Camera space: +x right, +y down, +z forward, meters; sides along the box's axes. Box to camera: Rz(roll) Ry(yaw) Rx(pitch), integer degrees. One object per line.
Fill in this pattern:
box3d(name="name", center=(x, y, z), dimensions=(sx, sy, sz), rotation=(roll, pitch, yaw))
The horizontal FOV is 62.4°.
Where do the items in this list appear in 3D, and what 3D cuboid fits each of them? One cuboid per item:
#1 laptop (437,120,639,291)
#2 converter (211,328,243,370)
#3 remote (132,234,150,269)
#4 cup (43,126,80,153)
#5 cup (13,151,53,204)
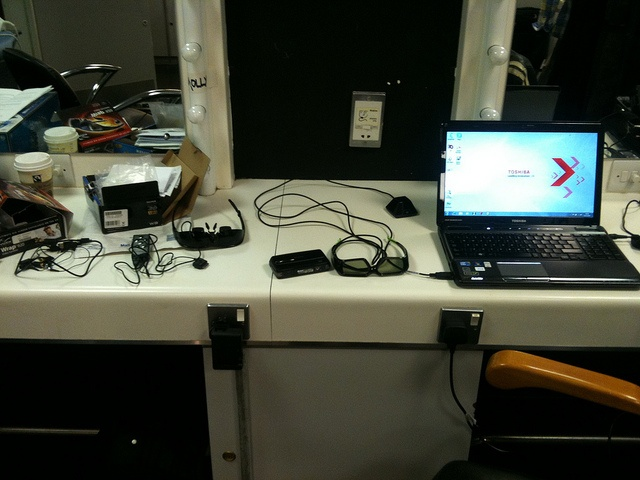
box3d(name="laptop", center=(0.575, -0.029, 1.561), dimensions=(0.524, 0.373, 0.449), rotation=(1, 46, 4))
box3d(name="converter", center=(-0.242, 0.273, 1.351), dimensions=(0.088, 0.123, 0.066), rotation=(0, 31, -3))
box3d(name="remote", center=(-0.495, 0.032, 1.431), dimensions=(0.048, 0.022, 0.161), rotation=(-1, 33, -12))
box3d(name="cup", center=(-0.850, -0.320, 1.720), dimensions=(0.089, 0.071, 0.092), rotation=(3, 31, -2))
box3d(name="cup", center=(-0.870, -0.206, 1.668), dimensions=(0.123, 0.133, 0.126), rotation=(2, 35, -2))
